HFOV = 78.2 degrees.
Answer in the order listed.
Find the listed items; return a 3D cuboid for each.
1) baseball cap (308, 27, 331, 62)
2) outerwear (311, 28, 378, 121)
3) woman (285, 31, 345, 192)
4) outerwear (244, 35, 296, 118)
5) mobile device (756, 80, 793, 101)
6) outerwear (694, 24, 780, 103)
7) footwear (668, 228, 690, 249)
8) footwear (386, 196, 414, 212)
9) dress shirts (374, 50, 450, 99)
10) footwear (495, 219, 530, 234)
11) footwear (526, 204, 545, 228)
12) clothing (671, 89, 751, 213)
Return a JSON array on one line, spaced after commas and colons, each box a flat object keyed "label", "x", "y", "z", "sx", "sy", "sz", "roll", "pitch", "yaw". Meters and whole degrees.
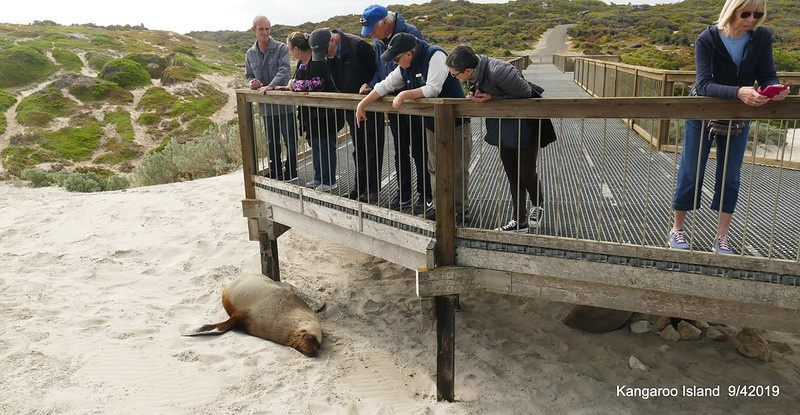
[{"label": "baseball cap", "x": -1.408, "y": -2.896, "z": 8.843, "sx": 0.386, "sy": 0.548, "sz": 0.333, "roll": 8, "pitch": -7, "yaw": 23}, {"label": "outerwear", "x": -1.036, "y": -2.744, "z": 9.318, "sx": 1.075, "sy": 1.335, "sz": 0.938, "roll": -22, "pitch": 35, "yaw": -18}, {"label": "woman", "x": -1.665, "y": -1.887, "z": 9.690, "sx": 1.194, "sy": 2.957, "sz": 1.300, "roll": 7, "pitch": 17, "yaw": 12}, {"label": "outerwear", "x": -2.840, "y": -2.765, "z": 10.497, "sx": 1.151, "sy": 1.577, "sz": 1.088, "roll": 6, "pitch": 31, "yaw": 21}, {"label": "mobile device", "x": 5.279, "y": -1.687, "z": 6.964, "sx": 0.385, "sy": 0.088, "sz": 0.381, "roll": 18, "pitch": -1, "yaw": -34}, {"label": "outerwear", "x": 5.094, "y": -2.146, "z": 7.400, "sx": 1.123, "sy": 1.070, "sz": 0.781, "roll": 4, "pitch": 7, "yaw": 13}, {"label": "footwear", "x": 4.380, "y": 0.516, "z": 7.722, "sx": 0.207, "sy": 0.238, "sz": 0.548, "roll": -3, "pitch": 37, "yaw": 15}, {"label": "footwear", "x": -0.025, "y": -0.050, "z": 8.820, "sx": 0.567, "sy": 0.214, "sz": 0.194, "roll": -1, "pitch": 18, "yaw": 34}, {"label": "dress shirts", "x": 0.240, "y": -2.120, "z": 8.179, "sx": 1.042, "sy": 0.630, "sz": 0.799, "roll": -24, "pitch": 34, "yaw": 0}, {"label": "footwear", "x": 1.836, "y": 0.321, "z": 8.151, "sx": 0.588, "sy": 0.216, "sz": 0.203, "roll": 3, "pitch": 16, "yaw": 6}, {"label": "footwear", "x": 2.306, "y": 0.136, "z": 8.273, "sx": 0.185, "sy": 0.209, "sz": 0.530, "roll": 7, "pitch": 47, "yaw": 9}, {"label": "clothing", "x": 4.944, "y": -0.754, "z": 7.733, "sx": 0.821, "sy": 1.706, "sz": 0.572, "roll": 10, "pitch": 40, "yaw": 28}]
